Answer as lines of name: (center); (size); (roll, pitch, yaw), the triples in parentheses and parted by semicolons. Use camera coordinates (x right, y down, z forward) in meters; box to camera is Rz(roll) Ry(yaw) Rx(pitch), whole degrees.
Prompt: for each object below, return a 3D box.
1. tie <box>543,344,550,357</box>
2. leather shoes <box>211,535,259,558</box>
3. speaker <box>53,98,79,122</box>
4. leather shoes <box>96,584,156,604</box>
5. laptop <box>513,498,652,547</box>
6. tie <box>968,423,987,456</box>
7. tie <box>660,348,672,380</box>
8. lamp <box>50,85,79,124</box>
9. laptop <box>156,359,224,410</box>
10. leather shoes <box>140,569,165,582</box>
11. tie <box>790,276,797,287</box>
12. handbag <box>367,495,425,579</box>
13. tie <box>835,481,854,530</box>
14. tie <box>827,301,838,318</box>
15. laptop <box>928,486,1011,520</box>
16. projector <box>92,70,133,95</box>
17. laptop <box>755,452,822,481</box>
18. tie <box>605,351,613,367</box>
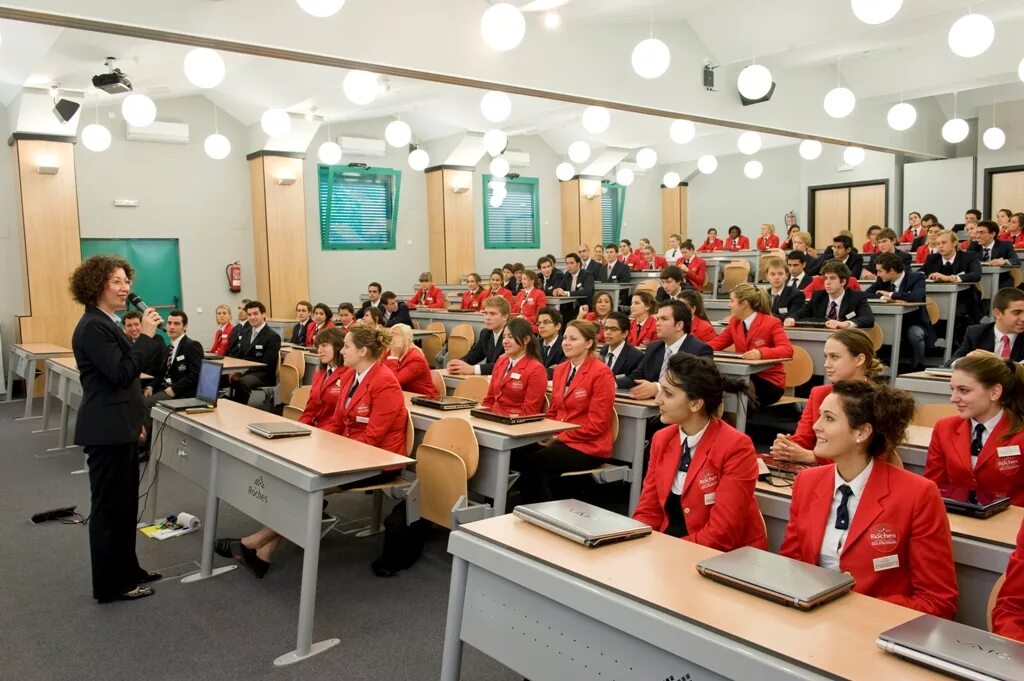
tie: (0.284, 0.099, 6.221); (0.068, 0.108, 0.036); (-7, -19, 22)
leather shoes: (-1.896, 1.418, 4.463); (0.375, 0.161, 0.107); (1, -1, 24)
speaker: (-6.105, -3.258, 9.074); (0.307, 0.321, 0.328); (-8, 12, -29)
leather shoes: (-2.361, 1.610, 4.054); (0.312, 0.094, 0.120); (-2, 2, -18)
laptop: (0.265, 0.802, 2.830); (0.545, 0.096, 0.267); (5, 13, 33)
tie: (2.239, 0.501, 3.231); (0.036, 0.152, 0.076); (9, -8, -40)
tie: (0.969, 0.155, 4.285); (0.042, 0.194, 0.133); (15, -17, -12)
lamp: (-6.059, -3.300, 9.044); (0.403, 0.420, 0.098); (20, 4, 0)
laptop: (-2.384, 0.369, 4.937); (0.342, 0.394, 0.429); (2, 3, -28)
leather shoes: (-2.320, 1.550, 4.237); (0.164, 0.077, 0.055); (2, 1, -39)
tie: (3.406, -0.751, 8.177); (0.093, 0.137, 0.120); (-5, 38, 28)
handbag: (-0.775, 1.357, 4.364); (0.280, 0.769, 0.467); (8, 18, -3)
tie: (1.343, 0.699, 2.716); (0.060, 0.191, 0.047); (2, -8, 44)
tie: (3.281, -0.329, 6.898); (0.033, 0.150, 0.085); (16, 9, -28)
laptop: (2.013, 0.761, 2.945); (0.182, 0.048, 0.180); (-7, 1, -32)
projector: (-4.733, -3.164, 7.803); (0.343, 0.289, 0.495); (-8, 12, -32)
laptop: (1.363, 0.652, 3.304); (0.213, 0.057, 0.227); (-1, 4, -28)
tie: (0.810, 0.172, 5.779); (0.065, 0.103, 0.030); (-11, -8, 43)
